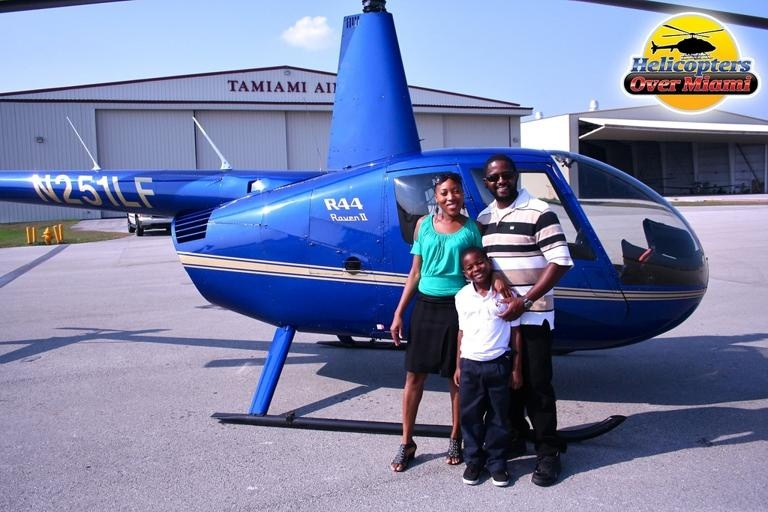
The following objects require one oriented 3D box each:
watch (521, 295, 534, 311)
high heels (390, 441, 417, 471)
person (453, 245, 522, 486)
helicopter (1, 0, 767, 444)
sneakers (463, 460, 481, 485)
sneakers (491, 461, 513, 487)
[{"bbox_3d":[1.116,0.367,4.519,0.090,0.101,0.027,-27,10,14],"label":"watch"},{"bbox_3d":[0.209,1.654,4.863,0.131,0.117,0.349,-4,-5,25],"label":"high heels"},{"bbox_3d":[0.824,0.864,4.577,0.502,1.841,0.516,-5,15,12],"label":"person"},{"bbox_3d":[-0.021,-0.271,6.535,6.217,1.975,5.242,0,3,10],"label":"helicopter"},{"bbox_3d":[0.709,1.712,4.612,0.100,0.075,0.234,2,0,17],"label":"sneakers"},{"bbox_3d":[0.942,1.712,4.623,0.120,0.075,0.232,0,10,6],"label":"sneakers"}]
